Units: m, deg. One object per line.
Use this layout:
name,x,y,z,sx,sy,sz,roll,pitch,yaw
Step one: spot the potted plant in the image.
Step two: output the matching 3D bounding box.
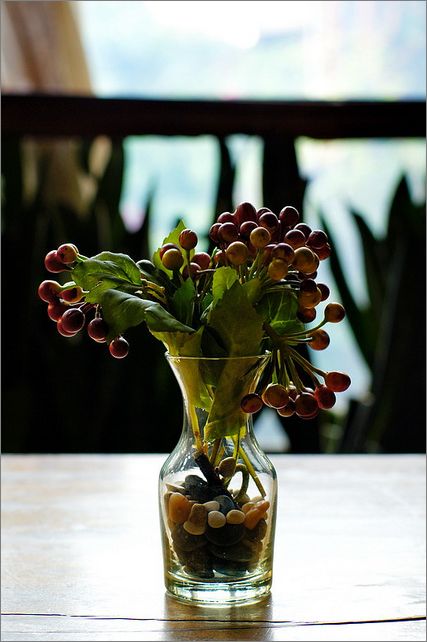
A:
potted plant,0.023,0.038,0.573,0.266,0.312,0.238,0,0,-18
